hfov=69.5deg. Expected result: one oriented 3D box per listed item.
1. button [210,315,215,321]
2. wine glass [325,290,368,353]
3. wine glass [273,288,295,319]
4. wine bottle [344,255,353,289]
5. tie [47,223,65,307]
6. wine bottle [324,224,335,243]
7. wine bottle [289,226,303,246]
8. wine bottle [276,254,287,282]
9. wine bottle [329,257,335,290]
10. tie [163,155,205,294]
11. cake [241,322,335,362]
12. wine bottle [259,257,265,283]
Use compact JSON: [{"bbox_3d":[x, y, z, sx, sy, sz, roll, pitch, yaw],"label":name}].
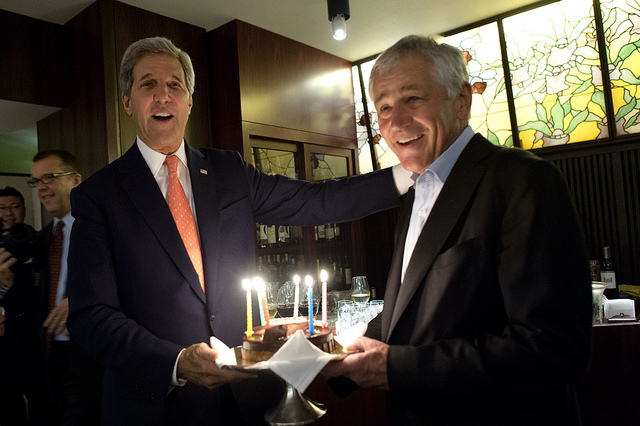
[{"bbox_3d":[-0.532,0.519,2.278,0.023,0.028,0.005,-1,-2,-35],"label":"button"},{"bbox_3d":[0.215,0.738,3.426,0.278,0.453,0.273,-3,-10,17],"label":"wine glass"},{"bbox_3d":[-0.299,0.737,3.768,0.169,0.275,0.168,6,-21,-15],"label":"wine glass"},{"bbox_3d":[0.337,0.700,5.507,0.043,0.395,0.131,-4,-2,38],"label":"wine bottle"},{"bbox_3d":[-1.991,0.377,3.505,0.134,0.595,0.123,-4,-2,38],"label":"tie"},{"bbox_3d":[0.117,0.239,5.353,0.044,0.210,0.191,-4,-2,31],"label":"wine bottle"},{"bbox_3d":[-0.256,0.247,4.972,0.038,0.195,0.173,-4,-3,40],"label":"wine bottle"},{"bbox_3d":[-0.394,0.577,4.855,0.035,0.286,0.128,-4,-3,44],"label":"wine bottle"},{"bbox_3d":[0.136,0.689,5.305,0.022,0.366,0.098,-4,-2,37],"label":"wine bottle"},{"bbox_3d":[-0.687,0.041,2.400,0.135,0.807,0.089,-17,-14,-18],"label":"tie"},{"bbox_3d":[-0.154,0.604,2.233,0.451,0.140,0.284,-2,-2,-10],"label":"cake"},{"bbox_3d":[-0.580,0.551,4.601,0.051,0.222,0.169,-2,-2,-8],"label":"wine bottle"}]
